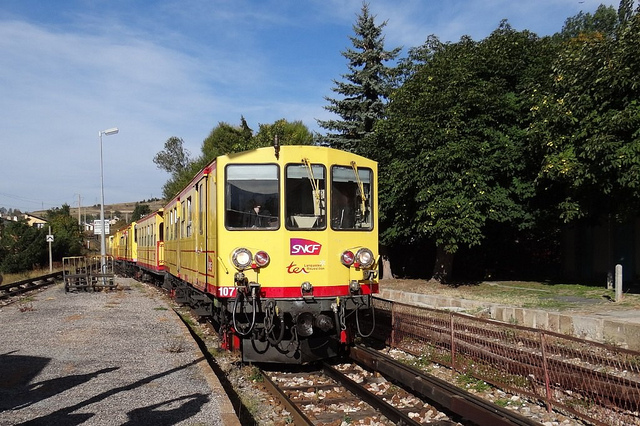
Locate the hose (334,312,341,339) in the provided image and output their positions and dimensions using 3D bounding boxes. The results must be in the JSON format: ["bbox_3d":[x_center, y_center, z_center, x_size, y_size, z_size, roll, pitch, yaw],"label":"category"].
[{"bbox_3d":[0.408,2.552,10.175,0.130,0.604,0.144,0,-3,-9],"label":"hose"}]

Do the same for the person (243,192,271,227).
[{"bbox_3d":[-1.476,-0.062,10.284,0.678,1.128,0.358,2,-5,-9],"label":"person"}]

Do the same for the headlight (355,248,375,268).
[{"bbox_3d":[1.075,1.071,10.607,0.408,0.443,0.154,14,-3,-15],"label":"headlight"}]
